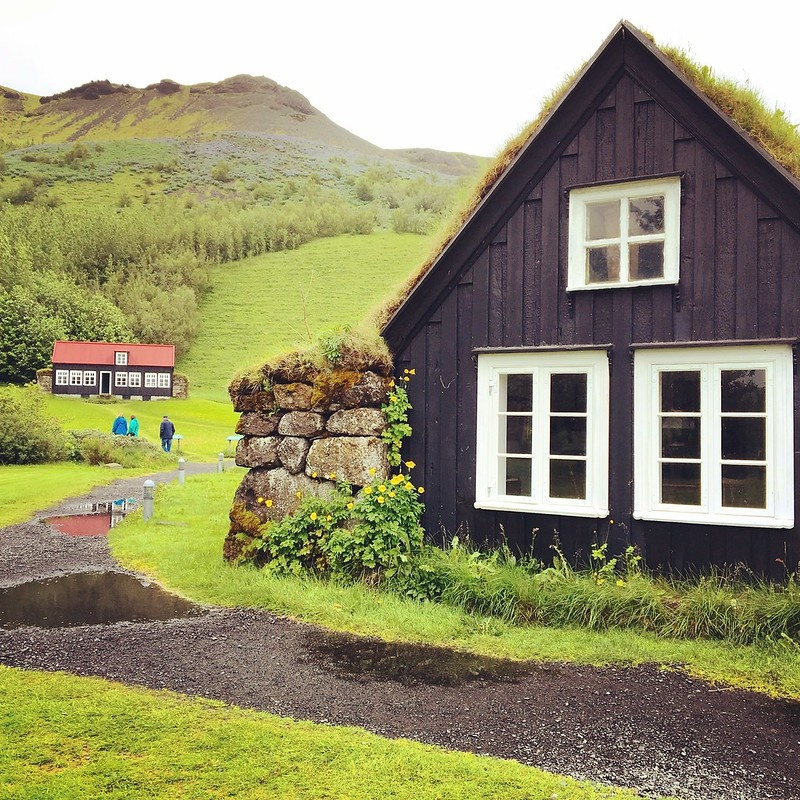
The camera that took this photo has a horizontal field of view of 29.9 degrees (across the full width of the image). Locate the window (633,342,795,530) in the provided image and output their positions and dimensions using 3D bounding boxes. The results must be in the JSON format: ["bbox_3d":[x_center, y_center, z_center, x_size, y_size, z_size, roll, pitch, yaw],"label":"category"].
[{"bbox_3d":[4.083,0.502,19.090,1.855,2.757,0.212,0,-2,20],"label":"window"}]

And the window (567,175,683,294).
[{"bbox_3d":[3.001,-2.163,19.671,1.249,1.499,0.180,0,-2,29],"label":"window"}]

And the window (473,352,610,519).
[{"bbox_3d":[1.953,0.495,19.928,1.735,2.585,0.292,0,-2,27],"label":"window"}]
